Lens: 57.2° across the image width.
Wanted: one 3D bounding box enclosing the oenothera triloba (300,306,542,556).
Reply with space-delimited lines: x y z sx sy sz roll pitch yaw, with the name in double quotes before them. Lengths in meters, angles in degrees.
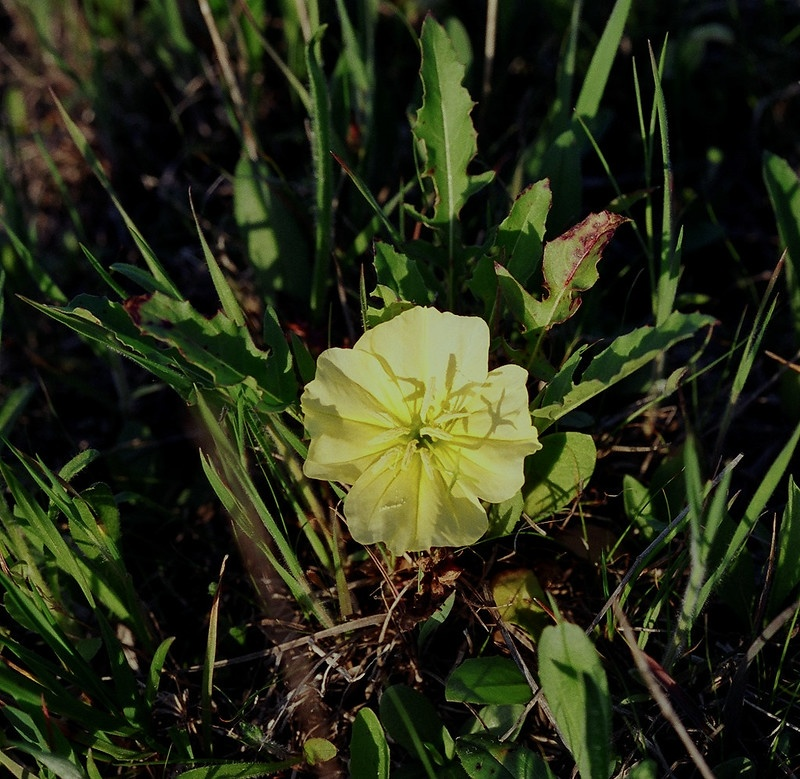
"oenothera triloba" 0.074 0.052 1.658 0.128 0.551 0.537 -39 60 -11
